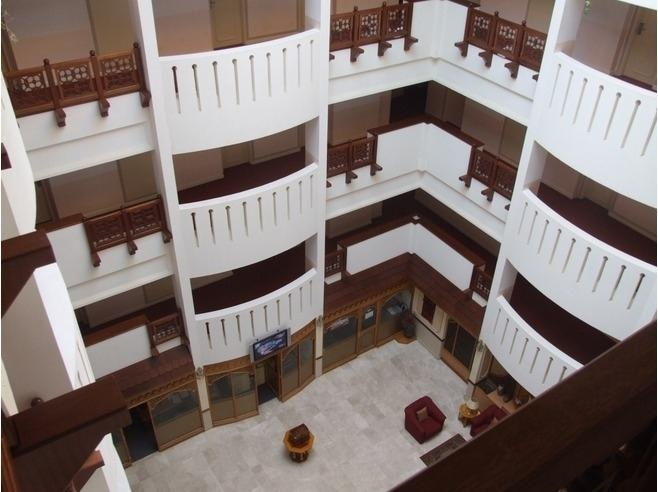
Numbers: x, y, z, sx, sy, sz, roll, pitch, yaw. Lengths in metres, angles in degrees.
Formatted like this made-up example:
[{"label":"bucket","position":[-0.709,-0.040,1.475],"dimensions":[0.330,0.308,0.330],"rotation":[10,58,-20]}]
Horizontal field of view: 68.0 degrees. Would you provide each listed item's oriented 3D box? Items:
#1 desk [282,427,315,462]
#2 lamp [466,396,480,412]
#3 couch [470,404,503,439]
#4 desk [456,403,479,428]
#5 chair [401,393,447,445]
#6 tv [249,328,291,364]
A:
[{"label":"desk","position":[-0.984,6.557,16.121],"dimensions":[0.921,0.917,0.885],"rotation":[-10,5,-8]},{"label":"lamp","position":[5.048,5.522,17.133],"dimensions":[0.383,0.249,0.421],"rotation":[7,41,3]},{"label":"couch","position":[5.368,5.945,16.409],"dimensions":[1.112,0.905,0.777],"rotation":[-10,5,-2]},{"label":"desk","position":[4.878,5.935,17.039],"dimensions":[0.473,0.651,0.429],"rotation":[-32,56,-29]},{"label":"chair","position":[3.336,6.073,16.998],"dimensions":[1.106,1.024,0.959],"rotation":[-18,30,-21]},{"label":"tv","position":[-1.985,3.231,16.106],"dimensions":[1.367,0.862,0.185],"rotation":[-27,53,-32]}]
